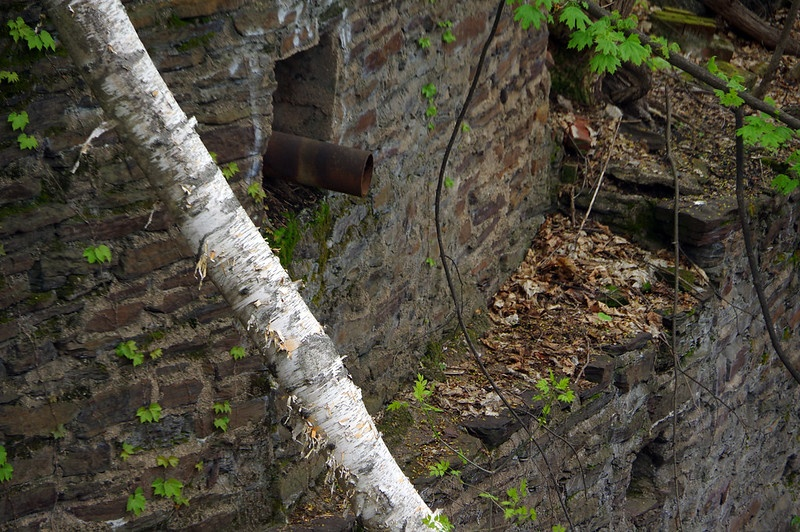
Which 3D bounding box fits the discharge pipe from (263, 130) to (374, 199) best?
[{"bbox_3d":[-0.661,-0.819,11.314,0.929,0.460,0.360,12,7,23],"label":"discharge pipe"}]
